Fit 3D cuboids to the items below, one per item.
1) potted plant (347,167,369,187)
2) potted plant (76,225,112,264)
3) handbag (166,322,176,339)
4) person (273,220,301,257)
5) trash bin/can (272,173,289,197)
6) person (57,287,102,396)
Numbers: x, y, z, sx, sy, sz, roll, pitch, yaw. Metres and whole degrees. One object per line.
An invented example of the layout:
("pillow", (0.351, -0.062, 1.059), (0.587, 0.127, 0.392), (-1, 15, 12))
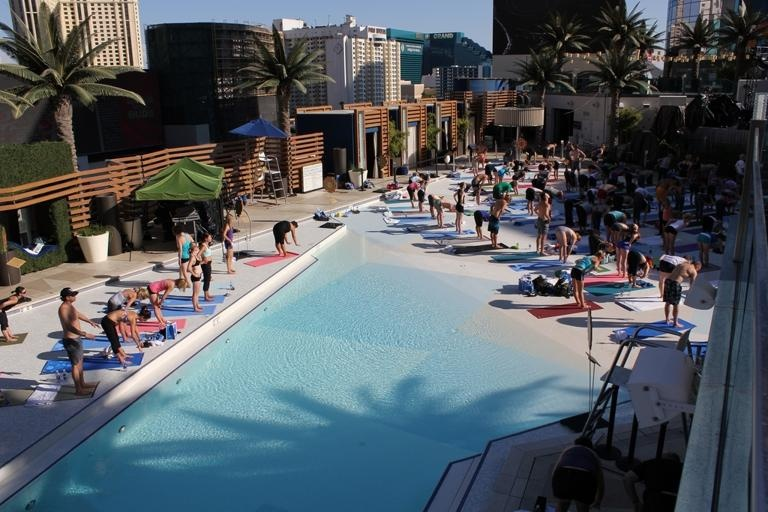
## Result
("potted plant", (-1.471, -4.459, 32.005), (0.972, 1.083, 1.200), (2, 12, 11))
("potted plant", (-10.147, -0.250, 19.332), (0.870, 0.856, 0.842), (1, 4, -4))
("handbag", (-5.341, 1.888, 14.196), (0.339, 0.412, 0.301), (3, 13, 1))
("person", (-3.587, -0.660, 20.482), (0.569, 1.221, 1.273), (3, 12, 17))
("trash bin/can", (-5.368, -3.619, 28.951), (0.739, 1.177, 2.061), (-3, 12, -10))
("person", (-6.466, 1.790, 11.960), (0.722, 2.279, 0.957), (-2, 8, -14))
